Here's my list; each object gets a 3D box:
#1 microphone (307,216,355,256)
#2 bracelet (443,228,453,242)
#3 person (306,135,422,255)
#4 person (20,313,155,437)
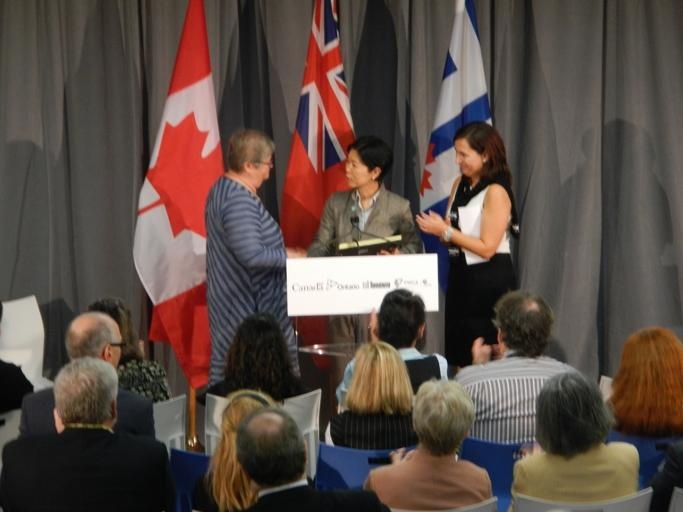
[{"bbox_3d":[-0.094,-0.144,5.745,0.228,0.278,0.075,4,3,-23],"label":"microphone"},{"bbox_3d":[0.674,-0.142,5.333,0.064,0.075,0.065,7,-3,-36],"label":"bracelet"},{"bbox_3d":[0.177,-0.345,5.846,0.760,1.339,0.721,1,10,10],"label":"person"},{"bbox_3d":[-1.320,0.683,4.454,0.691,0.756,0.375,-10,-4,18],"label":"person"}]
